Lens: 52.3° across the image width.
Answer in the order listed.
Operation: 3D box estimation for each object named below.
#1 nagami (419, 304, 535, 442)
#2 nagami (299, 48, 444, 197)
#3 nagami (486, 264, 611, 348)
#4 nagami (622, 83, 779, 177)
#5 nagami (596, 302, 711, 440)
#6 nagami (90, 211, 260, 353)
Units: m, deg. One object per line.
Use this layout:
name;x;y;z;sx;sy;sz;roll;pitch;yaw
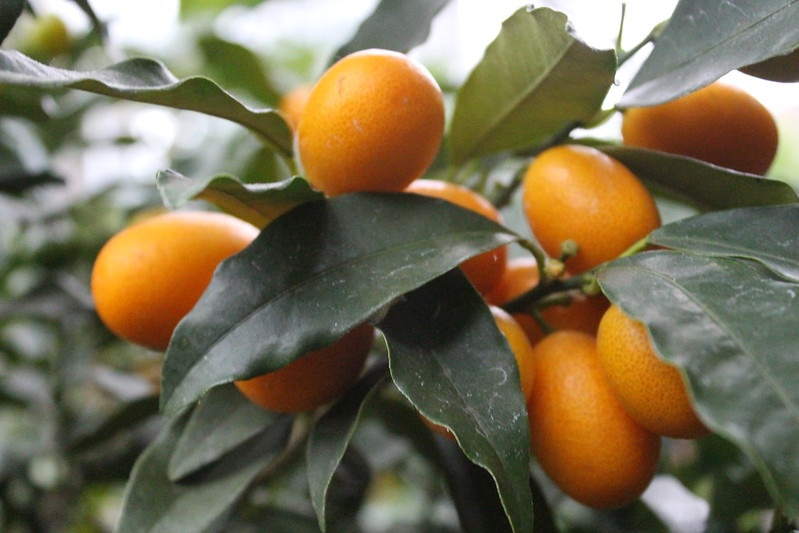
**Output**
nagami;0.067;0.106;0.942;0.141;0.180;0.147;1;5;4
nagami;-0.030;-0.167;1.000;0.151;0.192;0.155;1;-23;8
nagami;0.190;0.051;1.028;0.127;0.110;0.105;1;-1;-34
nagami;0.403;-0.164;1.049;0.184;0.118;0.122;-4;4;-27
nagami;0.257;0.097;0.937;0.091;0.156;0.104;-33;4;-5
nagami;-0.318;0.021;1.034;0.152;0.159;0.202;-1;11;-8
